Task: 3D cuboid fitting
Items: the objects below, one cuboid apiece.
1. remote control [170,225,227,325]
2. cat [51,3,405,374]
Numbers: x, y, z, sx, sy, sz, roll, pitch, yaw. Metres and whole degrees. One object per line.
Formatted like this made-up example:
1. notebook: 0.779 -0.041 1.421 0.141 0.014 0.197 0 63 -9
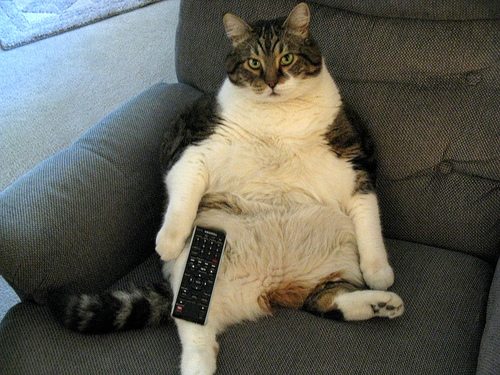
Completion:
1. remote control: -0.163 0.286 1.438 0.125 0.074 0.333 10 81 8
2. cat: 0.078 0.179 1.763 0.901 0.501 1.329 2 65 9
